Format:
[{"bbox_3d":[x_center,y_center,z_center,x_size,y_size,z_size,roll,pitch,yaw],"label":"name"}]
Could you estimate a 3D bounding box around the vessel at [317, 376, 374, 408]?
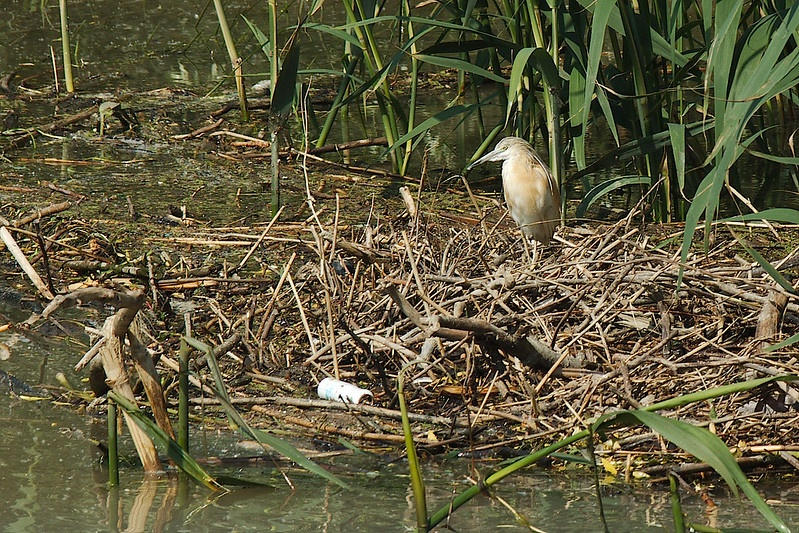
[{"bbox_3d":[-0.257,0.546,4.733,0.247,0.074,0.122,5,3,38],"label":"vessel"}]
